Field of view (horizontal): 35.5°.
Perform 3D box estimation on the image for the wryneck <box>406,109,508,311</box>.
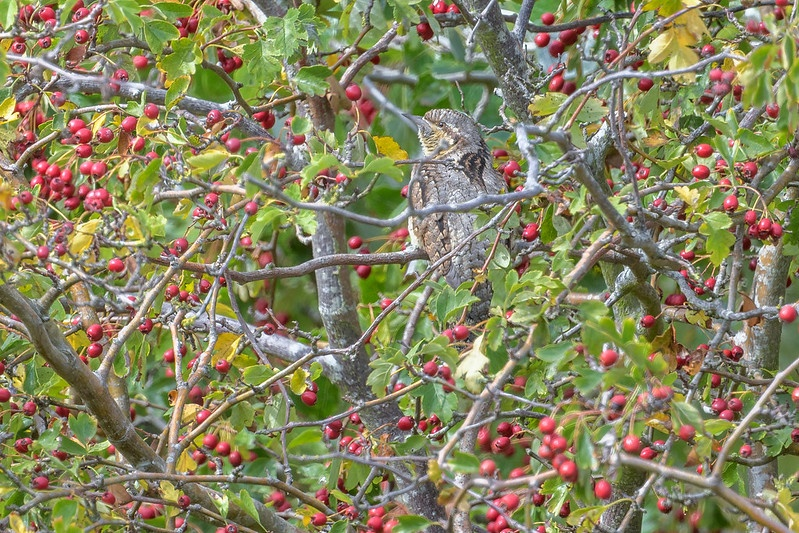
[{"bbox_3d":[0.467,-0.673,9.953,0.748,0.635,1.849,-12,62,-3],"label":"wryneck"}]
